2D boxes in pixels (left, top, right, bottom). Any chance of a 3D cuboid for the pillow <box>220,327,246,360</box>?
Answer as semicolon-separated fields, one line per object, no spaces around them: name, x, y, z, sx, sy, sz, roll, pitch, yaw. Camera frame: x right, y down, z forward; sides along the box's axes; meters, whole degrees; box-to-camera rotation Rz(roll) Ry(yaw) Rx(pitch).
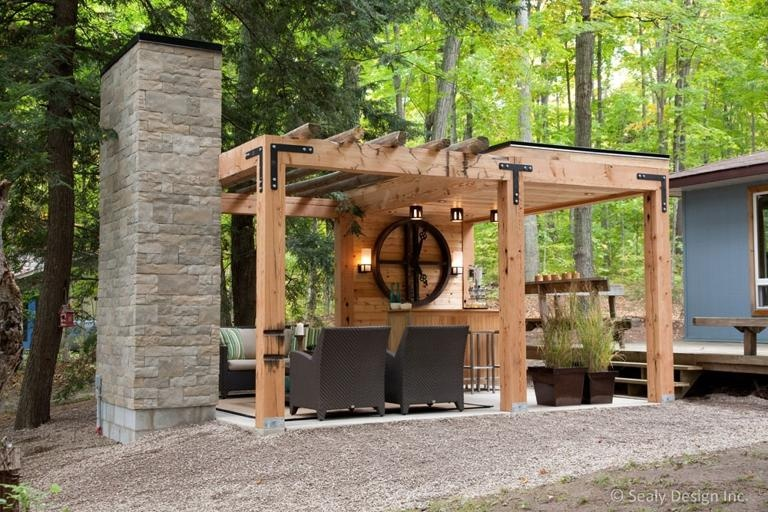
pillow;-2.856;1.673;13.461;0.169;0.538;0.580;-31;-18;27

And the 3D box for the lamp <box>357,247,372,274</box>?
lamp;-0.404;0.118;14.933;0.331;0.525;0.141;-2;2;-14

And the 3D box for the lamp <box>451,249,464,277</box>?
lamp;1.632;0.157;15.696;0.302;0.549;0.089;-3;2;-27

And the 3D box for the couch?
couch;-1.924;1.759;11.525;1.585;0.973;0.607;6;-12;-35
